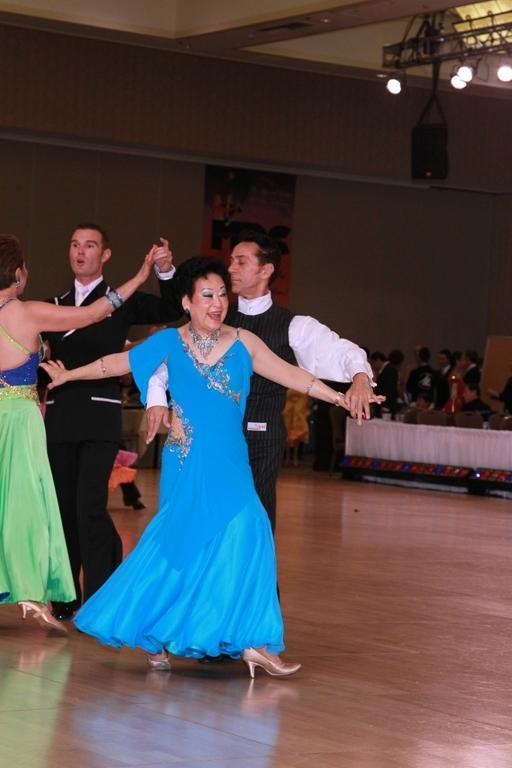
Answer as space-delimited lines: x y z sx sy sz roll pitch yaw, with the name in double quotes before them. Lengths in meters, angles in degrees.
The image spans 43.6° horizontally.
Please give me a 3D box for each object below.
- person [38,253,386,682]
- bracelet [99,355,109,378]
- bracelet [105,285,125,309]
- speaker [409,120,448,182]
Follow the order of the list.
"person" -0.160 0.271 2.109 0.825 1.123 0.393 3 -2 6
"bracelet" -0.559 -0.058 2.345 0.046 0.059 0.023 -3 -9 -11
"bracelet" -0.605 -0.368 2.718 0.084 0.083 0.026 -33 5 -40
"speaker" 2.769 -3.639 10.370 0.644 1.015 0.564 0 -12 13
